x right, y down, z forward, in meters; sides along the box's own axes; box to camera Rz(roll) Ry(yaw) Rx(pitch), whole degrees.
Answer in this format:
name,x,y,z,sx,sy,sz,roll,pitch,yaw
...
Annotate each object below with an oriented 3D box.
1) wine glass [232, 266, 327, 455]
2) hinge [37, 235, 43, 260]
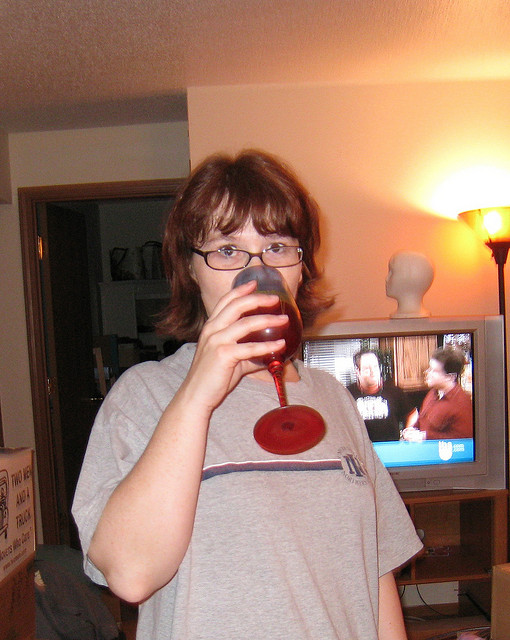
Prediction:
name,x,y,z,sx,sy,sz,roll,pitch,yaw
wine glass,0.033,0.065,0.815,0.117,0.284,0.236,-5,6,4
hinge,-1.215,-0.407,3.223,0.017,0.128,0.038,-3,7,21
